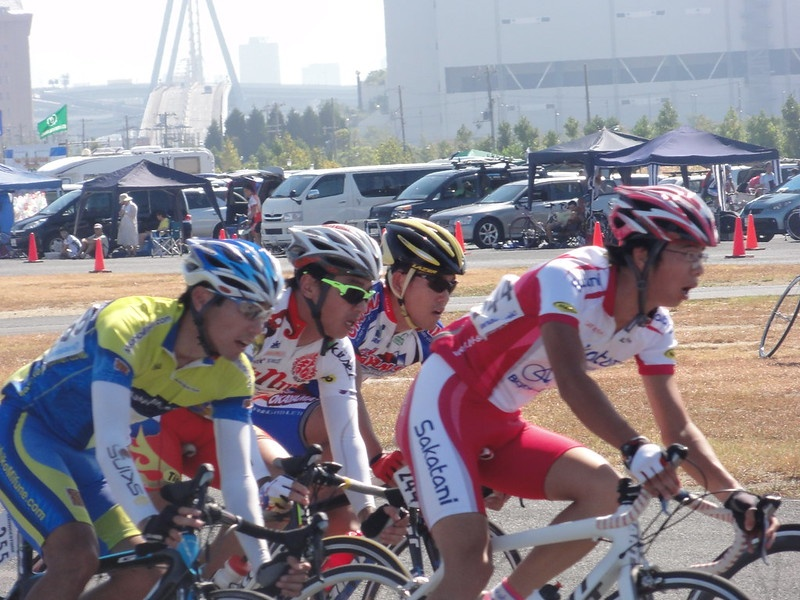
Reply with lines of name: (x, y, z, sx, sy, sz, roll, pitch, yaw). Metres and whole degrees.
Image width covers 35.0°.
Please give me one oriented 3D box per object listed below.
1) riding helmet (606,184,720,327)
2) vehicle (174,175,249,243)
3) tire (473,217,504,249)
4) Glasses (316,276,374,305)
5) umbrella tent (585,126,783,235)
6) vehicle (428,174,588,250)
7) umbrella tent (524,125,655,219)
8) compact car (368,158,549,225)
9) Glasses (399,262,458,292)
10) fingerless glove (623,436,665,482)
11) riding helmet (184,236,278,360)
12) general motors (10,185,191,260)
riding helmet: (1.197, -0.215, 5.706, 0.502, 0.593, 0.393, 4, 9, 33)
vehicle: (-4.888, -2.256, 30.891, 2.251, 1.065, 1.300, 5, 0, -4)
tire: (1.756, -1.367, 25.238, 0.649, 0.594, 0.222, 0, 13, -2)
Glasses: (-0.253, -0.039, 6.217, 0.179, 0.057, 0.140, 23, 3, 15)
umbrella tent: (5.330, -2.584, 25.860, 2.746, 1.904, 2.802, -6, 9, -43)
vehicle: (2.445, -1.820, 25.589, 3.171, 0.981, 1.370, -8, 5, -23)
umbrella tent: (4.154, -2.740, 27.008, 3.468, 1.508, 3.287, -2, 2, -9)
compact car: (1.259, -2.371, 27.599, 3.460, 1.418, 1.940, -3, 1, -26)
Glasses: (0.161, -0.114, 6.488, 0.199, 0.070, 0.148, 1, -11, 23)
fingerless glove: (1.016, 0.668, 5.342, 0.186, 0.082, 0.140, 39, 14, 28)
riding helmet: (-0.736, -0.048, 5.671, 0.546, 0.488, 0.420, -3, 2, 20)
general motors: (-6.627, -1.979, 29.408, 3.290, 1.471, 1.517, -4, 20, -37)
